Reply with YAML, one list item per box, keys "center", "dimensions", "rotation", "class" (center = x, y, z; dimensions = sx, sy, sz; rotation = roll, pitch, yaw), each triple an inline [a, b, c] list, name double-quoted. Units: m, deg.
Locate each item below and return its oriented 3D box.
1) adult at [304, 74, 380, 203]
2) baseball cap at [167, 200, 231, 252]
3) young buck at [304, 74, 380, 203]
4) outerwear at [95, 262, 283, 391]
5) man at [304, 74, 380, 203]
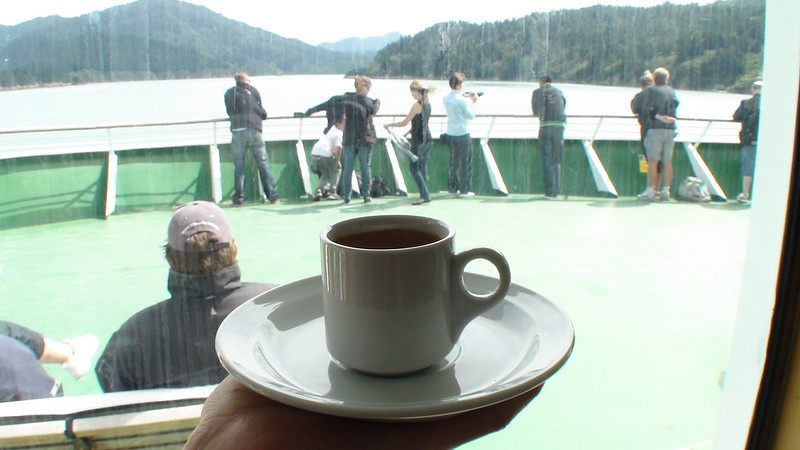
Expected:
- center: [-0.407, -0.615, 4.143]
  dimensions: [0.672, 0.937, 0.441]
  rotation: [4, -11, -5]
  class: "adult"
- center: [-0.859, 0.006, 2.290]
  dimensions: [0.299, 0.207, 0.395]
  rotation: [-6, -2, -27]
  class: "baseball cap"
- center: [-0.413, -0.593, 4.194]
  dimensions: [0.659, 0.944, 0.497]
  rotation: [3, -14, 2]
  class: "young buck"
- center: [-0.890, 0.415, 2.377]
  dimensions: [0.773, 0.635, 0.400]
  rotation: [-15, -14, 12]
  class: "outerwear"
- center: [-0.386, -0.602, 4.165]
  dimensions: [0.652, 0.950, 0.467]
  rotation: [5, -14, -4]
  class: "man"
